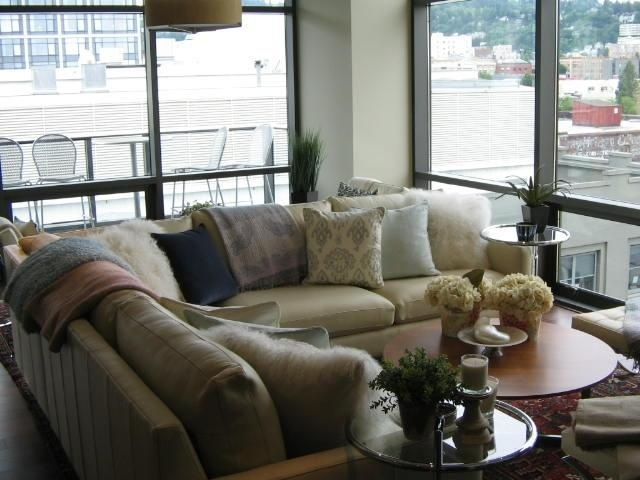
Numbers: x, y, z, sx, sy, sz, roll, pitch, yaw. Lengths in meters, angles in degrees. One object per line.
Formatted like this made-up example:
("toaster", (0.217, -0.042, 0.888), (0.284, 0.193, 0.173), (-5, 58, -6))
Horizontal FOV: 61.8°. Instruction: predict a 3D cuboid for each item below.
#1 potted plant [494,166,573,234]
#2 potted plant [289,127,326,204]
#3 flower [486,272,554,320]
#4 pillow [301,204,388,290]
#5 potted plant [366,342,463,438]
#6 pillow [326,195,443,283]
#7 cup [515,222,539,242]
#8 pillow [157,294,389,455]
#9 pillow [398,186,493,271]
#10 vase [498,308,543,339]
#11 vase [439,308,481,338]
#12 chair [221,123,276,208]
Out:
("potted plant", (1.497, -0.266, 3.777), (0.418, 0.393, 0.511), (3, 4, 38))
("potted plant", (-0.173, -0.665, 6.106), (0.362, 0.793, 0.270), (0, -5, 4))
("flower", (1.010, 0.276, 2.749), (0.281, 0.183, 0.320), (-5, 0, -26))
("pillow", (0.164, 0.071, 3.599), (0.557, 0.541, 0.197), (1, -3, -3))
("potted plant", (0.280, 0.465, 1.580), (0.240, 0.232, 0.137), (-7, 12, -25))
("pillow", (0.529, 0.012, 3.823), (0.569, 0.484, 0.296), (-9, 21, -6))
("cup", (1.407, -0.052, 3.635), (0.151, 0.116, 0.139), (-3, 14, 1))
("pillow", (-0.143, 0.463, 1.799), (0.766, 0.379, 0.311), (4, 13, 29))
("pillow", (0.994, -0.098, 3.912), (0.595, 0.584, 0.257), (-5, -10, -3))
("vase", (1.018, 0.398, 2.714), (0.173, 0.123, 0.152), (-7, 12, -42))
("vase", (0.719, 0.399, 2.761), (0.160, 0.116, 0.160), (-10, 16, -39))
("chair", (-0.736, -0.853, 6.746), (0.620, 0.941, 0.621), (-13, 5, -2))
